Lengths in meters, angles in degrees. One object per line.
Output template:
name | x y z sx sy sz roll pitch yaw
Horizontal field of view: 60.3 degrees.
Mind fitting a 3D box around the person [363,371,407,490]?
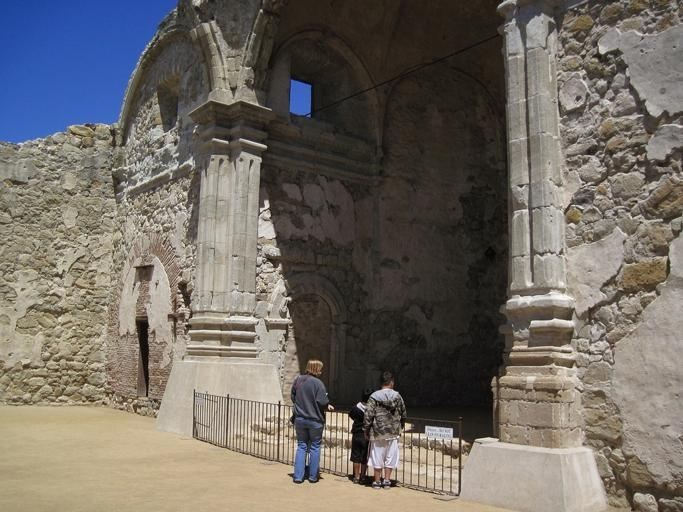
person | 0.536 2.154 7.332 0.498 1.366 0.475 0 -6 3

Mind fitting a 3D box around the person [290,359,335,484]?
person | -0.403 2.109 7.579 0.494 1.501 0.498 1 -6 -5
